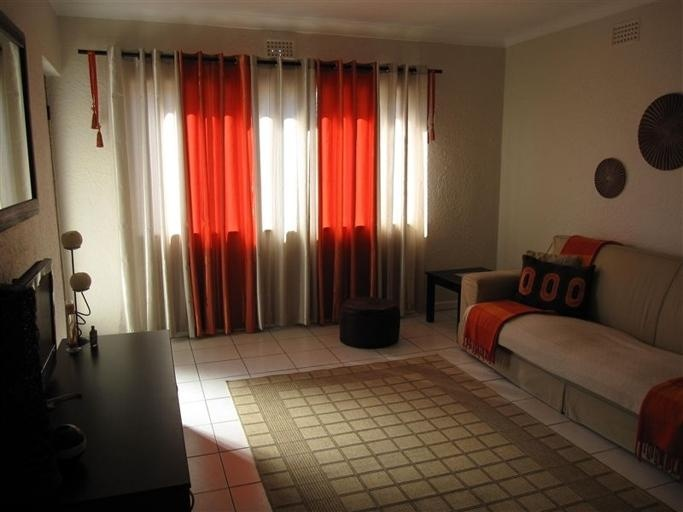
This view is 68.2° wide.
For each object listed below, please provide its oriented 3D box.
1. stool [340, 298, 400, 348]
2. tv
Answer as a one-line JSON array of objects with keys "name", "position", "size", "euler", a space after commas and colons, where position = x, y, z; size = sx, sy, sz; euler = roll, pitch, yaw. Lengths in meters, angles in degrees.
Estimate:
[{"name": "stool", "position": [0.239, 0.598, 4.601], "size": [0.407, 0.276, 0.424], "euler": [0, 7, -4]}, {"name": "tv", "position": [-1.430, 0.391, 2.454], "size": [0.241, 0.569, 0.589], "euler": [-4, 12, -18]}]
